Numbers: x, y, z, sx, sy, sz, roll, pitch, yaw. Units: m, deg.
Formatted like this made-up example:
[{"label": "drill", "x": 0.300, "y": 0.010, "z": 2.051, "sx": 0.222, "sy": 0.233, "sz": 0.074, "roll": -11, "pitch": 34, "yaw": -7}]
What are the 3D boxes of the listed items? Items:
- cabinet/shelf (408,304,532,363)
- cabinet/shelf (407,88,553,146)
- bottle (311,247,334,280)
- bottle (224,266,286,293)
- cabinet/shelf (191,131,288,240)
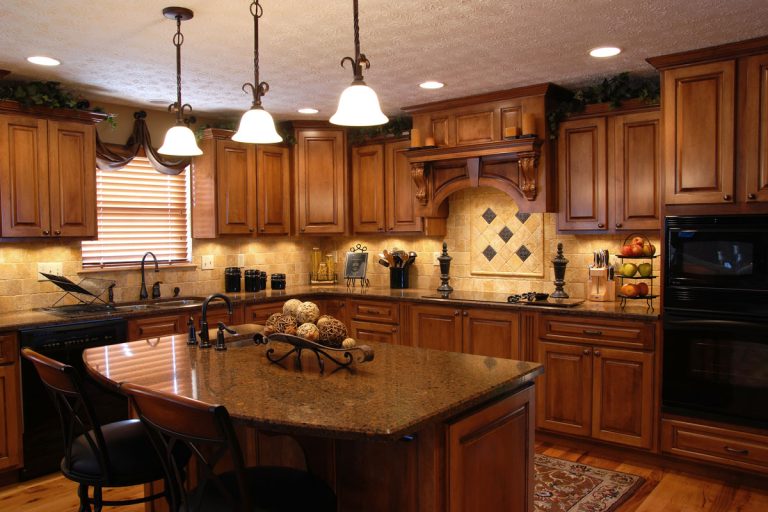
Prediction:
[{"label": "cabinet/shelf", "x": 0.723, "y": 0.673, "z": 5.244, "sx": 0.924, "sy": 0.482, "sz": 0.490, "roll": -2, "pitch": -4, "yaw": 31}, {"label": "cabinet/shelf", "x": 0.826, "y": -1.271, "z": 5.290, "sx": 1.354, "sy": 0.473, "sz": 0.208, "roll": 4, "pitch": 9, "yaw": 32}, {"label": "bottle", "x": -0.710, "y": 0.115, "z": 6.653, "sx": 0.327, "sy": 0.368, "sz": 0.183, "roll": 6, "pitch": 10, "yaw": 39}, {"label": "bottle", "x": -1.386, "y": 0.239, "z": 6.179, "sx": 0.662, "sy": 0.265, "sz": 0.328, "roll": -6, "pitch": 9, "yaw": -42}, {"label": "cabinet/shelf", "x": -1.484, "y": -0.703, "z": 5.712, "sx": 0.639, "sy": 1.104, "sz": 1.288, "roll": -3, "pitch": -3, "yaw": 42}]
